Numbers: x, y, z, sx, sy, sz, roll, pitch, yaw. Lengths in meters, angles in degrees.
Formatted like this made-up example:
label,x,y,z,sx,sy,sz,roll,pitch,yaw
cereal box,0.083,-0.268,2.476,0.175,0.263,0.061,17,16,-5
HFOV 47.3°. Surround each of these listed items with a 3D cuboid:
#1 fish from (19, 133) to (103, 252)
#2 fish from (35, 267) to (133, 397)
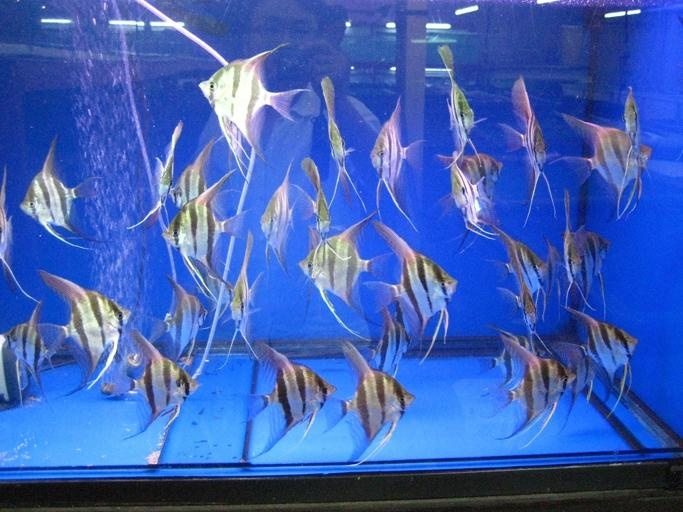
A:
label,x,y,z,sx,sy,sz,roll,pitch,yaw
fish,-1.247,-0.252,3.418,0.290,0.488,0.094,-12,35,-32
fish,-1.041,0.289,3.201,0.378,0.578,0.099,-20,26,-15
